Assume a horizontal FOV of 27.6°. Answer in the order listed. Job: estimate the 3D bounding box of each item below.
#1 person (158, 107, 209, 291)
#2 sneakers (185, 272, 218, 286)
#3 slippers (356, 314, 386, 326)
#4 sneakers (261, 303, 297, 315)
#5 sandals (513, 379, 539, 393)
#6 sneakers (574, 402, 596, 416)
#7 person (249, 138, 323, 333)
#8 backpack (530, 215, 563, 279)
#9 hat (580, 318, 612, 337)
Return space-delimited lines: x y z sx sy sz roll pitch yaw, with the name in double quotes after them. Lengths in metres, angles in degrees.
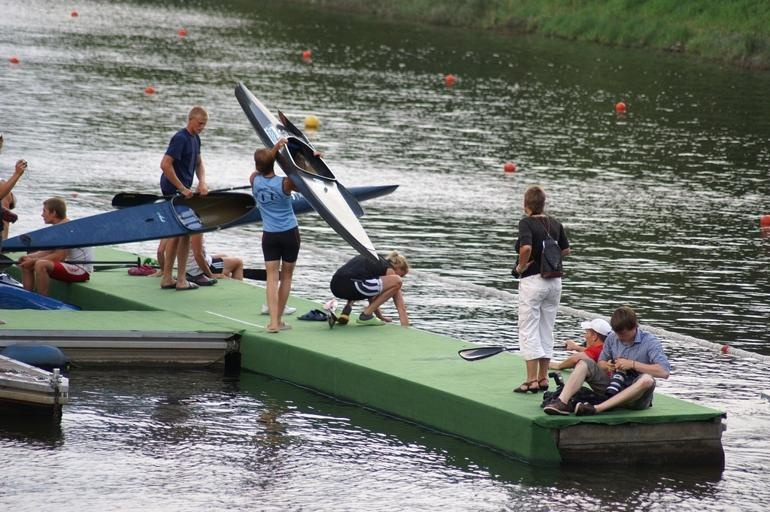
-3.817 -1.118 29.962 0.870 3.511 0.816 2 13 -6 "person"
-3.539 0.450 30.297 0.474 0.130 0.237 2 6 -10 "sneakers"
-0.274 1.202 28.923 0.635 0.194 0.188 1 8 -17 "slippers"
-1.983 0.993 29.161 0.691 0.212 0.216 -1 7 -11 "sneakers"
2.434 2.271 27.020 0.436 0.173 0.204 1 -1 14 "sandals"
3.444 2.601 26.497 0.447 0.157 0.148 1 31 -37 "sneakers"
-1.929 -0.276 28.427 0.636 3.282 0.822 -5 15 -34 "person"
2.783 -0.142 26.768 0.328 1.044 0.467 -7 16 -39 "backpack"
3.647 1.237 27.146 0.481 0.145 0.276 15 9 6 "hat"
